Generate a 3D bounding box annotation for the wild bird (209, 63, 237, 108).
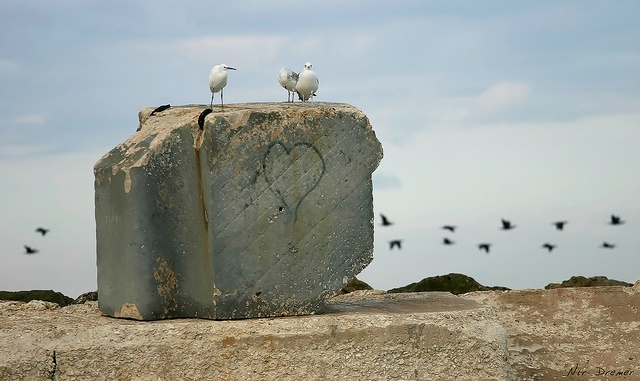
[{"bbox_3d":[-1.273,-1.366,19.688,0.236,0.602,0.654,3,3,-30],"label":"wild bird"}]
